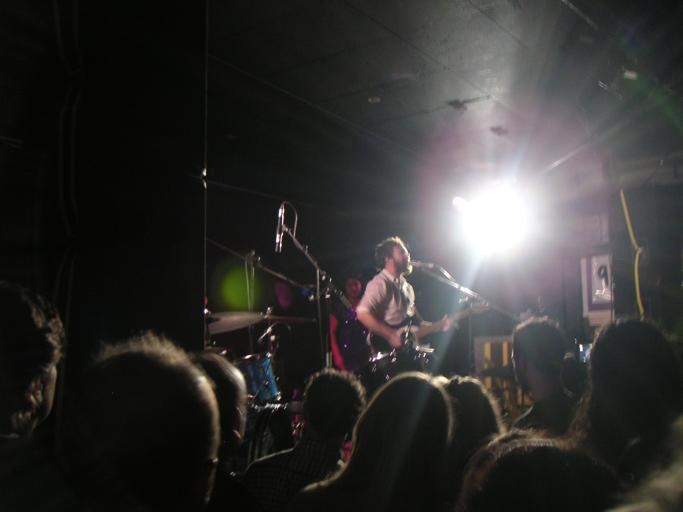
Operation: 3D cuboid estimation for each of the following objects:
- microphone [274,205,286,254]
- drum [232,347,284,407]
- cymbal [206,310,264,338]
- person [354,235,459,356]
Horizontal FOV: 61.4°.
[{"bbox_3d":[-0.553,-0.238,5.138,0.099,0.469,0.115,15,22,33],"label":"microphone"},{"bbox_3d":[-0.575,0.871,4.031,0.303,0.318,0.314,-18,-6,24],"label":"drum"},{"bbox_3d":[-0.829,0.496,4.410,0.257,0.067,0.264,-13,24,-22],"label":"cymbal"},{"bbox_3d":[0.521,0.491,5.328,0.869,1.280,0.664,1,1,-44],"label":"person"}]
